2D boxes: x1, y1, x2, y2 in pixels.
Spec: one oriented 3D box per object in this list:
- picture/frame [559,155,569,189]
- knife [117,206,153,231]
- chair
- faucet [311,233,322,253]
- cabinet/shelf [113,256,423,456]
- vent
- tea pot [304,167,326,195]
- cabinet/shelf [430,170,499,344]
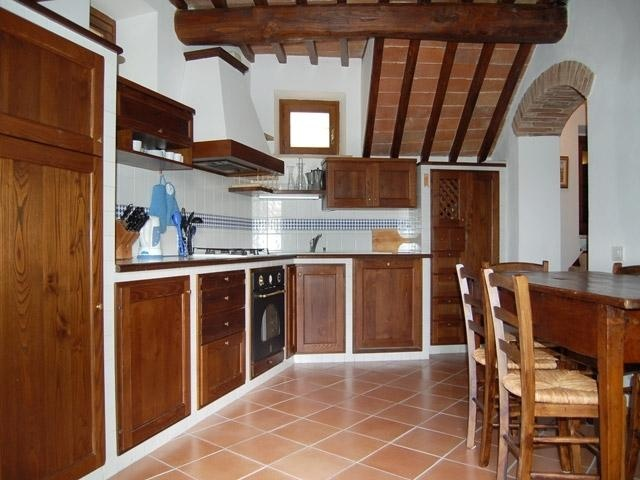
[{"bbox_3d":[3.572,-0.986,7.253,0.116,0.471,0.079,2,5,21],"label":"picture/frame"},{"bbox_3d":[-1.354,-0.160,3.652,0.211,0.194,0.305,-2,5,-20],"label":"knife"},{"bbox_3d":[1.254,0.726,3.325,1.108,1.803,1.047,0,1,-1],"label":"chair"},{"bbox_3d":[-0.045,0.036,5.816,0.146,0.218,0.250,0,5,4],"label":"faucet"},{"bbox_3d":[-0.290,0.720,4.401,3.370,1.174,0.901,-5,7,-45],"label":"cabinet/shelf"},{"bbox_3d":[-0.798,-0.764,4.731,0.596,0.280,1.011,1,5,11],"label":"vent"},{"bbox_3d":[-0.035,-0.670,5.579,0.236,0.237,0.237,-1,0,0],"label":"tea pot"},{"bbox_3d":[1.603,0.151,5.869,0.872,2.154,0.518,-9,20,-11],"label":"cabinet/shelf"}]
